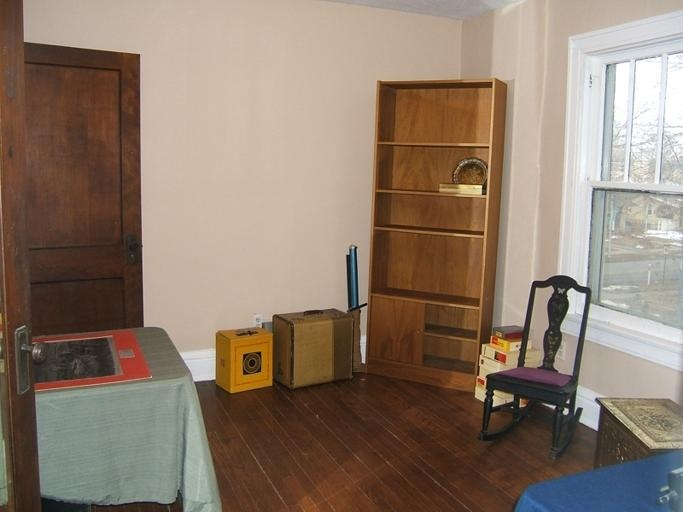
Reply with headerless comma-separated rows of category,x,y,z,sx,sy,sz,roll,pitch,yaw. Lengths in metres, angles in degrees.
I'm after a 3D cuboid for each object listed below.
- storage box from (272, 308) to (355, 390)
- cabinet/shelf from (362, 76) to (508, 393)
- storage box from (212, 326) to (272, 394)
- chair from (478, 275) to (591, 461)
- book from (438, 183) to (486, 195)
storage box,-0.226,0.764,4.516,0.660,0.567,0.302,-2,12,-11
cabinet/shelf,0.799,-0.216,4.641,1.041,2.466,0.680,5,12,19
storage box,-0.747,0.748,4.533,0.557,0.628,0.410,-1,1,-33
chair,1.377,0.694,3.829,0.630,1.092,0.876,7,14,28
book,0.995,-0.548,4.466,0.367,0.084,0.146,3,13,10
